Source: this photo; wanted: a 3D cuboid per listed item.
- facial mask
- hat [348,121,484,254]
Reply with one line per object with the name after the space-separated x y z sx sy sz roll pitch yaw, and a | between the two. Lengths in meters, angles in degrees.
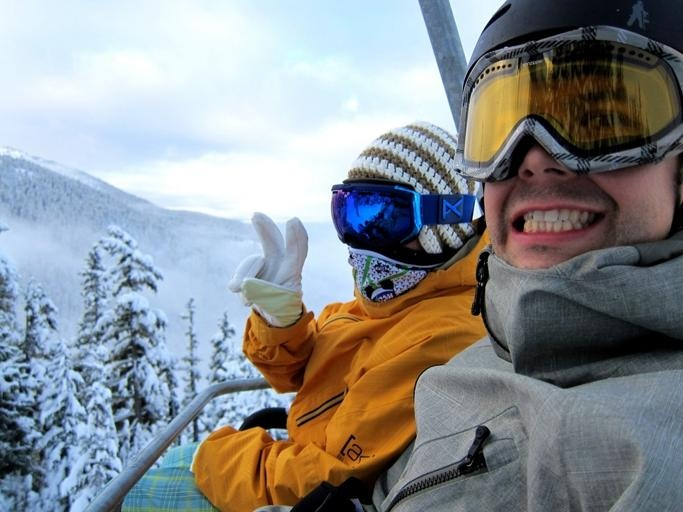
0.245 0.114 4.405 0.329 0.214 0.350 7 14 36 | facial mask
0.428 -0.458 4.592 0.646 0.761 0.693 -8 16 -33 | hat
